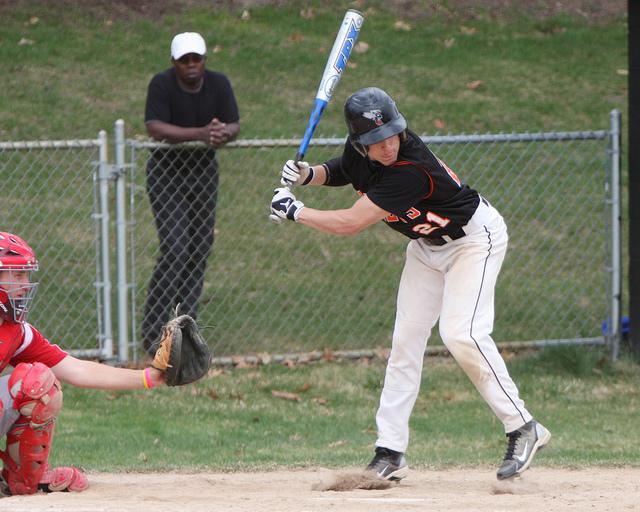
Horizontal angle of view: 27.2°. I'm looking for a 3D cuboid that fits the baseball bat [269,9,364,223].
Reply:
[{"bbox_3d":[0.038,-1.171,9.789,0.150,1.331,0.149,21,-4,1],"label":"baseball bat"}]
